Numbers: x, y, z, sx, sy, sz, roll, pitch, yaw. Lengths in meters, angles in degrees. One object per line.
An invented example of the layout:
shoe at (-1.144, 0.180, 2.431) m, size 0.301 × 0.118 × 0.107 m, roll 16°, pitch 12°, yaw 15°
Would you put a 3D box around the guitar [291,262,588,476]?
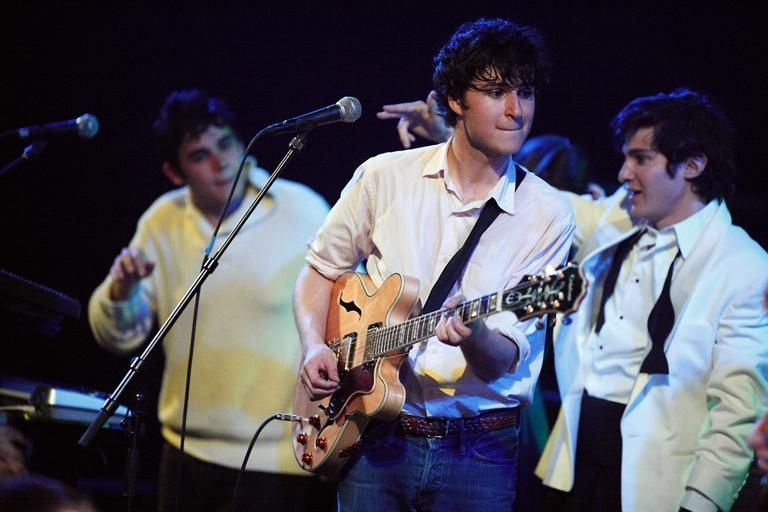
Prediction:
guitar at (0.105, 0.539, 3.206) m, size 1.351 × 1.027 × 0.197 m, roll 0°, pitch -9°, yaw 37°
